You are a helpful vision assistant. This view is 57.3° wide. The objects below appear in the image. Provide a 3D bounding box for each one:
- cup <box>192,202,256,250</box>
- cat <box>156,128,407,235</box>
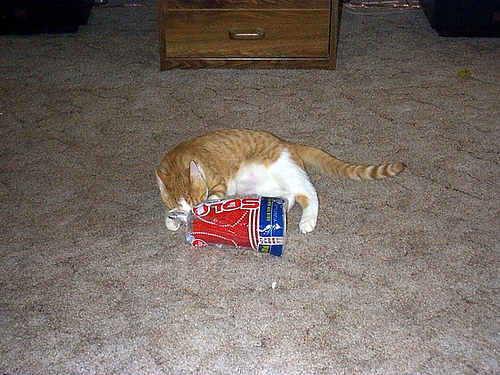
[{"bbox_3d":[-0.139,0.199,2.289,0.307,0.144,0.216,-3,69,-5],"label":"cup"},{"bbox_3d":[0.259,-0.087,2.699,1.504,0.573,0.541,-13,99,-11],"label":"cat"}]
